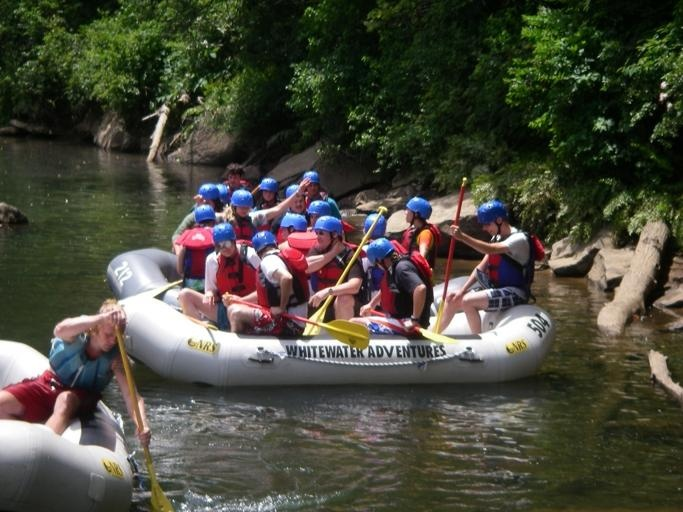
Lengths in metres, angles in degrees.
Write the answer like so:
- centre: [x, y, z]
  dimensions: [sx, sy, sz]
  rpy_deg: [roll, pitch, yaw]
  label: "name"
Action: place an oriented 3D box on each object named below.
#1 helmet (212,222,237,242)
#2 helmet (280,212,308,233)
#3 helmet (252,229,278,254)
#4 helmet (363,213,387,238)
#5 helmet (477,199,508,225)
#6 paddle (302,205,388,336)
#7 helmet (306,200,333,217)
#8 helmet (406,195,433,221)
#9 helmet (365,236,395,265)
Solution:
- centre: [-1.579, -0.298, 13.196]
  dimensions: [0.288, 0.275, 0.231]
  rpy_deg: [4, 10, -3]
  label: "helmet"
- centre: [-0.670, -0.495, 14.106]
  dimensions: [0.314, 0.271, 0.251]
  rpy_deg: [-3, 3, 11]
  label: "helmet"
- centre: [-0.976, -0.186, 13.267]
  dimensions: [0.244, 0.319, 0.332]
  rpy_deg: [-26, -33, 33]
  label: "helmet"
- centre: [0.483, -0.466, 14.444]
  dimensions: [0.310, 0.379, 0.442]
  rpy_deg: [6, 27, 5]
  label: "helmet"
- centre: [2.100, -0.608, 13.481]
  dimensions: [0.369, 0.310, 0.295]
  rpy_deg: [1, -7, 2]
  label: "helmet"
- centre: [0.036, 0.267, 13.450]
  dimensions: [0.156, 2.022, 0.262]
  rpy_deg: [22, -9, 36]
  label: "paddle"
- centre: [-0.308, -0.695, 14.384]
  dimensions: [0.297, 0.248, 0.221]
  rpy_deg: [-9, 13, -14]
  label: "helmet"
- centre: [1.167, -0.731, 14.196]
  dimensions: [0.350, 0.285, 0.300]
  rpy_deg: [26, 25, -10]
  label: "helmet"
- centre: [0.525, -0.044, 12.891]
  dimensions: [0.380, 0.359, 0.276]
  rpy_deg: [4, 10, 1]
  label: "helmet"
